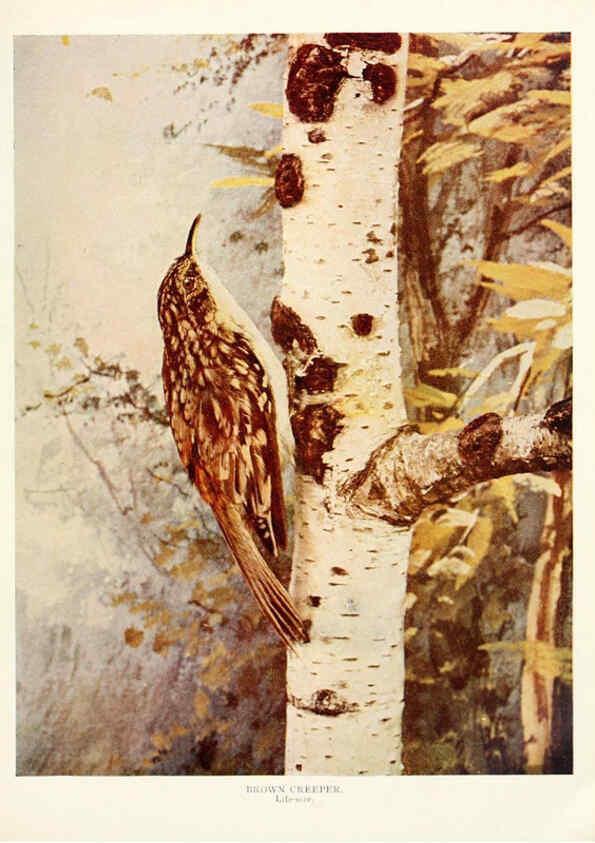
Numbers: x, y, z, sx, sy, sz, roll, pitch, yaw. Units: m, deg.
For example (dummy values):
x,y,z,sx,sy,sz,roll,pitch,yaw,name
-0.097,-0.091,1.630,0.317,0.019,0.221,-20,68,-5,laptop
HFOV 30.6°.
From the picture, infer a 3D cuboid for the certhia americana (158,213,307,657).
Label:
x,y,z,sx,sy,sz,roll,pitch,yaw,name
-0.103,0.016,1.783,0.228,0.694,0.100,0,12,30,certhia americana
